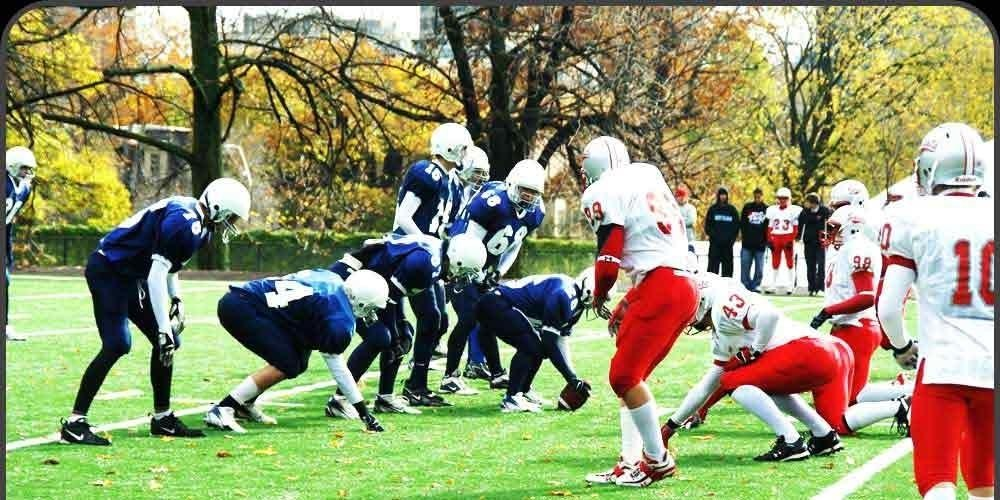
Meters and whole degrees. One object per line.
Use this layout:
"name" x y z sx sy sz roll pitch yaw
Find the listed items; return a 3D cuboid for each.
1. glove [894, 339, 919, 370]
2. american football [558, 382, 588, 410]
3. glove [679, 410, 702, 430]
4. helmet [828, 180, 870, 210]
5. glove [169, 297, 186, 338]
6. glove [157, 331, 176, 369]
"glove" 5.281 1.387 13.597 0.362 0.422 0.346 1 42 26
"american football" 1.113 2.232 15.692 0.264 0.362 0.205 40 29 8
"glove" 2.849 2.496 15.209 0.328 0.301 0.088 -23 24 -11
"helmet" 5.598 -0.911 16.708 0.702 0.483 0.482 10 -13 -10
"glove" -4.624 0.974 14.781 0.286 0.544 0.193 3 -13 0
"glove" -4.662 1.389 14.398 0.289 0.407 0.241 4 7 -20
